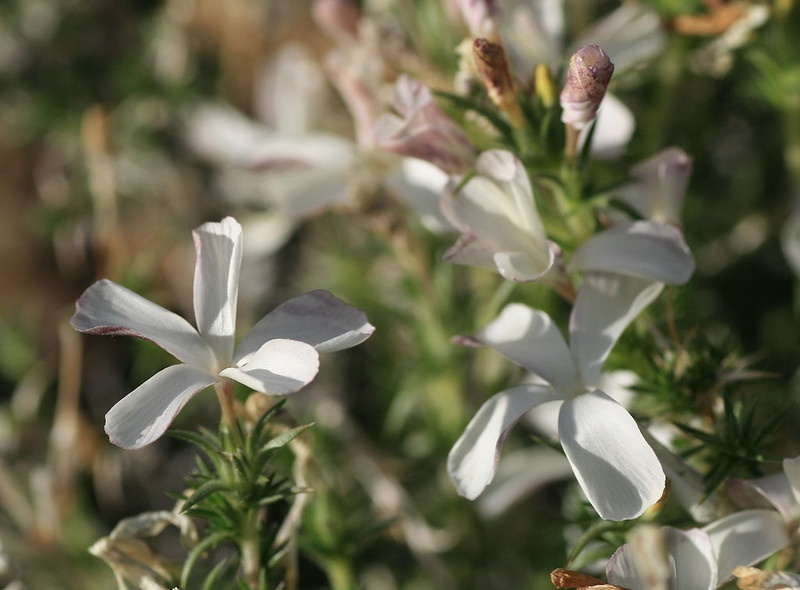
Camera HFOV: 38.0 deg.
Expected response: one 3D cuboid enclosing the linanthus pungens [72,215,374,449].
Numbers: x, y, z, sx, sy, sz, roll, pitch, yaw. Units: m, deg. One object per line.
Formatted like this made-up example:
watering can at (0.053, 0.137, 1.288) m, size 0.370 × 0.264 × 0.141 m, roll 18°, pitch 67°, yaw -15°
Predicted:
linanthus pungens at (-0.264, 0.091, 1.722) m, size 0.374 × 0.263 × 0.396 m, roll 8°, pitch 30°, yaw 7°
